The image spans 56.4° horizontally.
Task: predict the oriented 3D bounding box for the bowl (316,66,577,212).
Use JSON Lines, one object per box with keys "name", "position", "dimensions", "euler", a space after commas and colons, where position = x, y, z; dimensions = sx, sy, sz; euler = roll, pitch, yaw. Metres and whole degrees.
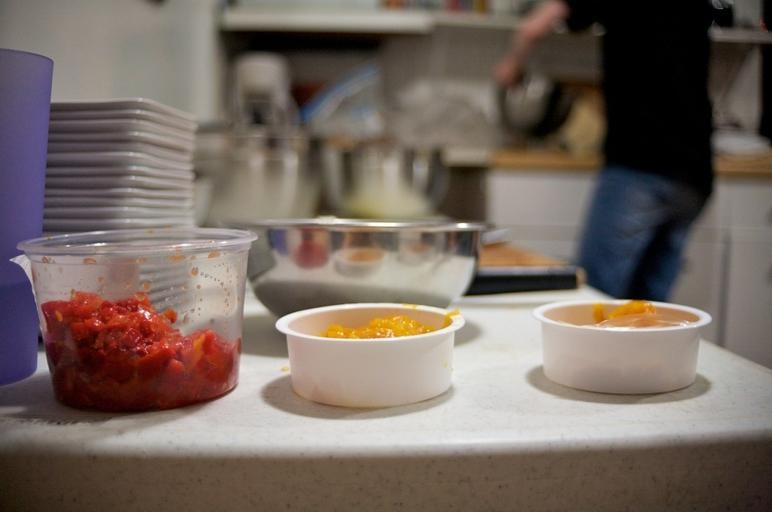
{"name": "bowl", "position": [0.186, -0.390, 2.617], "dimensions": [0.910, 0.370, 0.474], "euler": [-3, 2, -18]}
